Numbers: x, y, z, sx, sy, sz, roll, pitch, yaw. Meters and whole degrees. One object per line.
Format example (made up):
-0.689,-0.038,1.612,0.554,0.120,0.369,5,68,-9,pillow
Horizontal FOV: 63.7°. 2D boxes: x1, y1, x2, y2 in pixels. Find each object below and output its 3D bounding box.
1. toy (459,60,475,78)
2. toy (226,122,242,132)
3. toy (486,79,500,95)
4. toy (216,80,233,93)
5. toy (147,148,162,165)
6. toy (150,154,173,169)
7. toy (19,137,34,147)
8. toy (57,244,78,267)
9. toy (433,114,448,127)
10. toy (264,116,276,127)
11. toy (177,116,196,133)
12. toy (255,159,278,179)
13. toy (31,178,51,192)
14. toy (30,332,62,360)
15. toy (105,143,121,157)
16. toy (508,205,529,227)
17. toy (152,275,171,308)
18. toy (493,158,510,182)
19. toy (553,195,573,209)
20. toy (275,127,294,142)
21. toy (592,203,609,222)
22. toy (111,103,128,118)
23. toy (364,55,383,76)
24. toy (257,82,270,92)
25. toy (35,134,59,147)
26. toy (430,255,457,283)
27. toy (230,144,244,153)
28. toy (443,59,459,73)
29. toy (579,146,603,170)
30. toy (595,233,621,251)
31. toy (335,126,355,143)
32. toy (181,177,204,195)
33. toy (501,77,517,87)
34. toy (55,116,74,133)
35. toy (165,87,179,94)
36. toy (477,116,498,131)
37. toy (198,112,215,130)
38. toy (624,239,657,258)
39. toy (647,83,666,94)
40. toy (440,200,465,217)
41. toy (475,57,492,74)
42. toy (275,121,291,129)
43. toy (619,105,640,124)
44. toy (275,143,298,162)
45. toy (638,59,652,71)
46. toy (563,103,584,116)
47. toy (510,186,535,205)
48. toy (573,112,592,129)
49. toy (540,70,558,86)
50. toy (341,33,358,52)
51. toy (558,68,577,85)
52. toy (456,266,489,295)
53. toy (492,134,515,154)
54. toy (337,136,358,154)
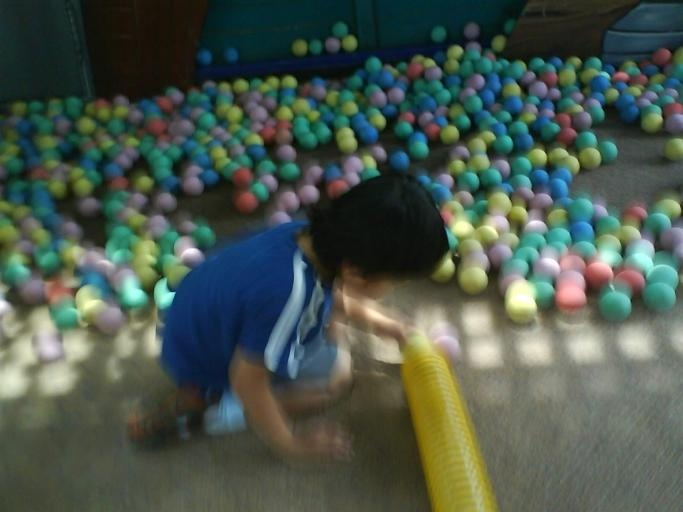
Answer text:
0.655,-0.982,2.886,0.065,0.051,0.091,-7,49,1,toy
-0.533,-0.635,2.744,0.056,0.052,0.048,-15,5,29,toy
0.767,-0.848,2.814,0.065,0.081,0.069,0,44,28,toy
-0.638,-0.921,3.006,0.071,0.047,0.147,-2,43,-10,toy
-0.870,-0.471,2.579,0.064,0.036,0.068,-10,45,-8,toy
-0.834,-0.427,2.538,0.057,0.045,0.075,-6,-1,17,toy
-1.528,-0.553,2.675,0.060,0.037,0.064,16,10,1,toy
-1.066,-0.005,2.144,0.046,0.090,0.064,2,-16,-40,toy
0.491,-0.656,2.699,0.060,0.080,0.065,-4,40,16,toy
-0.356,-0.668,2.758,0.060,0.052,0.049,16,5,-21,toy
-0.770,-0.650,2.734,0.079,0.043,0.099,-5,44,-14,toy
-0.347,-0.401,2.562,0.079,0.094,0.081,35,76,21,toy
-1.341,-0.322,2.450,0.060,0.036,0.062,-13,34,-34,toy
-1.019,0.310,1.904,0.086,0.073,0.102,0,52,-14,toy
-1.077,-0.494,2.614,0.071,0.039,0.092,-16,47,-23,toy
0.712,-0.166,2.231,0.070,0.084,0.074,-32,57,21,toy
-0.655,0.128,2.001,0.079,0.108,0.041,-11,0,-14,toy
0.710,-0.391,2.465,0.077,0.104,0.081,3,6,19,toy
0.904,-0.220,2.253,0.060,0.053,0.053,-31,49,0,toy
-0.279,-0.577,2.657,0.065,0.081,0.072,-9,74,23,toy
1.026,-0.172,2.191,0.048,0.062,0.051,21,52,14,toy
-1.124,-0.737,2.807,0.080,0.045,0.095,-10,45,-18,toy
0.174,-1.032,2.994,0.090,0.082,0.180,6,42,-1,toy
-0.422,-0.901,2.947,0.049,0.029,0.050,-30,50,-26,toy
-1.419,-0.557,2.653,0.080,0.023,0.083,10,58,-10,toy
0.327,0.045,1.785,0.053,0.072,0.052,37,16,-8,toy
-0.491,-0.506,2.595,0.069,0.023,0.066,0,43,-8,toy
0.581,-1.004,2.925,0.068,0.075,0.082,22,-1,12,toy
1.091,-0.433,2.428,0.089,0.112,0.097,5,55,20,toy
0.999,-0.047,2.061,0.094,0.035,0.064,-1,43,-10,toy
0.015,-0.588,2.640,0.071,0.078,0.075,6,25,19,toy
-0.660,-0.307,2.474,0.077,0.093,0.087,-15,70,32,toy
0.851,-0.896,2.821,0.047,0.039,0.066,-7,44,-1,toy
-1.399,-0.660,2.769,0.075,0.058,0.094,-14,46,-22,toy
-0.894,-0.871,2.904,0.045,0.050,0.048,11,39,13,toy
0.690,-0.630,2.613,0.072,0.081,0.088,26,23,11,toy
-0.673,-0.668,2.769,0.065,0.084,0.078,6,-7,36,toy
1.110,-0.035,2.043,0.074,0.044,0.075,30,48,33,toy
1.551,-0.829,2.729,0.068,0.048,0.075,15,19,-1,toy
0.459,-0.199,2.221,0.075,0.073,0.069,-6,24,5,toy
0.734,-0.979,2.895,0.077,0.082,0.092,31,17,-1,toy
-0.282,-0.642,2.691,0.041,0.036,0.049,16,39,11,toy
1.392,-0.687,2.659,0.085,0.075,0.084,17,42,12,toy
-0.265,-0.508,2.629,0.103,0.069,0.145,1,43,-6,toy
1.605,-1.011,2.912,0.060,0.056,0.053,-21,11,7,toy
1.112,-0.706,2.642,0.075,0.069,0.065,-22,26,-6,toy
0.758,-0.237,2.328,0.073,0.089,0.077,0,65,39,toy
1.133,-0.637,2.597,0.075,0.094,0.083,-1,56,16,toy
1.063,-0.904,2.811,0.069,0.086,0.074,-10,52,36,toy
0.047,-1.174,3.044,0.095,0.083,0.048,-15,45,-23,toy
1.149,-0.911,2.814,0.076,0.094,0.086,6,74,9,toy
0.488,0.090,2.076,0.097,0.104,0.112,12,-20,-42,toy
0.739,-0.509,2.526,0.078,0.101,0.086,8,58,9,toy
0.027,-0.522,2.597,0.063,0.044,0.090,-7,29,8,toy
